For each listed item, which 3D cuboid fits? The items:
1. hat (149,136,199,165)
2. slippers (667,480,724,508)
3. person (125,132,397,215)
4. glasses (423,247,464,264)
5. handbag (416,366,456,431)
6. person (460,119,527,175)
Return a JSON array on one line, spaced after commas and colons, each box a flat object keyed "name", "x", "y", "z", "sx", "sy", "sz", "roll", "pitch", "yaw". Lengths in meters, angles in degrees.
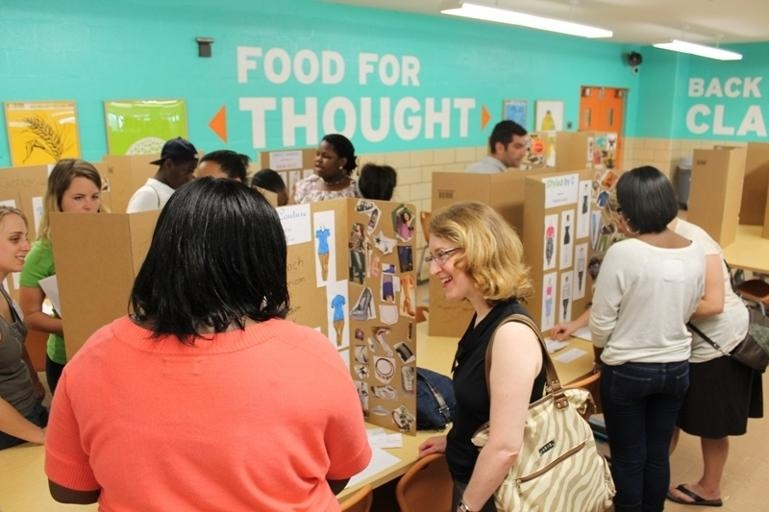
[{"name": "hat", "x": -1.532, "y": -0.792, "z": 3.889, "sx": 0.308, "sy": 0.198, "sz": 0.198, "roll": 5, "pitch": 13, "yaw": -3}, {"name": "slippers", "x": 2.080, "y": 1.622, "z": 3.482, "sx": 0.255, "sy": 0.080, "sz": 0.145, "roll": 6, "pitch": 4, "yaw": 26}, {"name": "person", "x": -0.974, "y": -0.672, "z": 3.991, "sx": 1.196, "sy": 0.528, "sz": 1.230, "roll": 6, "pitch": 12, "yaw": 34}, {"name": "glasses", "x": 0.253, "y": -0.012, "z": 2.170, "sx": 0.080, "sy": 0.024, "sz": 0.080, "roll": -21, "pitch": 3, "yaw": -26}, {"name": "handbag", "x": 0.247, "y": 0.742, "z": 2.682, "sx": 0.265, "sy": 0.271, "sz": 0.098, "roll": 6, "pitch": -28, "yaw": -24}, {"name": "person", "x": 1.177, "y": -1.109, "z": 5.162, "sx": 0.395, "sy": 0.510, "sz": 0.859, "roll": 3, "pitch": 9, "yaw": 23}]
